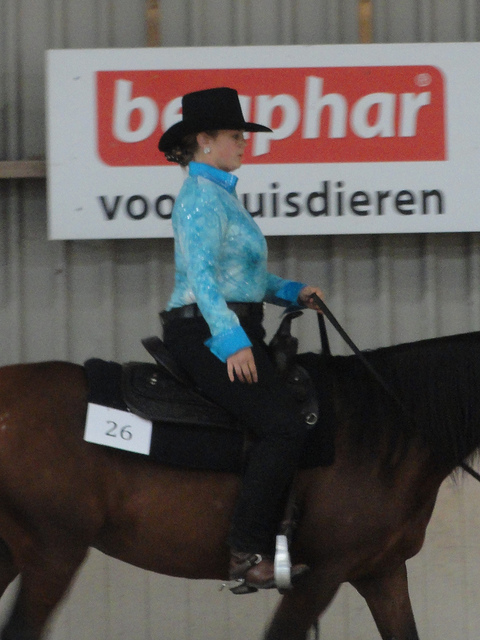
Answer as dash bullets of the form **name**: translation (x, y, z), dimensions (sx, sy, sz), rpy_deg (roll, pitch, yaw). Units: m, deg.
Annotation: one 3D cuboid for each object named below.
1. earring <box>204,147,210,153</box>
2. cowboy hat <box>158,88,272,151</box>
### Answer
- **earring**: translation (-0.110, -0.545, 5.617), dimensions (0.016, 0.004, 0.017), rpy_deg (0, 93, -1)
- **cowboy hat**: translation (-0.124, -0.653, 5.614), dimensions (0.309, 0.104, 0.148), rpy_deg (-11, 84, -2)
